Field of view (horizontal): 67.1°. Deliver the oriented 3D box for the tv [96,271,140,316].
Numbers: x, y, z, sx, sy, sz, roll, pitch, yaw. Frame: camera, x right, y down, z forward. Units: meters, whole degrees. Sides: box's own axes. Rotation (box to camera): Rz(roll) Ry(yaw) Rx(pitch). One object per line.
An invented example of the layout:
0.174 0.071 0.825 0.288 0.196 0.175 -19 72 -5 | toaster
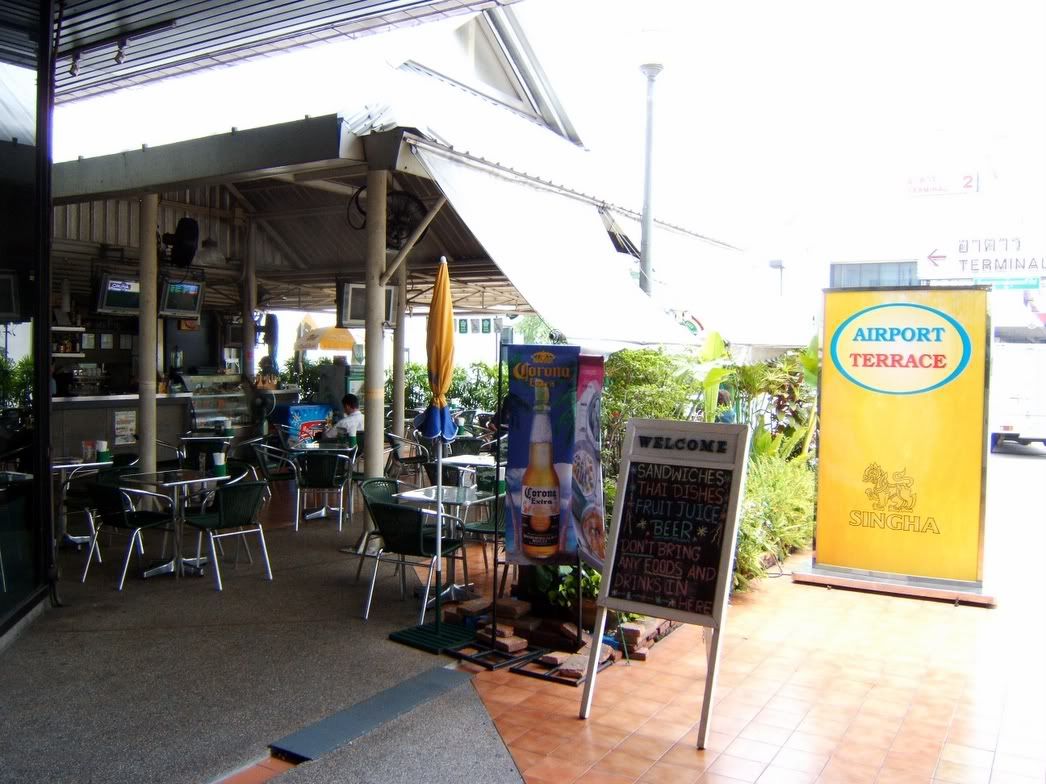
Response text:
-7.564 -1.855 14.788 0.177 0.910 1.266 3 2 20 | tv
